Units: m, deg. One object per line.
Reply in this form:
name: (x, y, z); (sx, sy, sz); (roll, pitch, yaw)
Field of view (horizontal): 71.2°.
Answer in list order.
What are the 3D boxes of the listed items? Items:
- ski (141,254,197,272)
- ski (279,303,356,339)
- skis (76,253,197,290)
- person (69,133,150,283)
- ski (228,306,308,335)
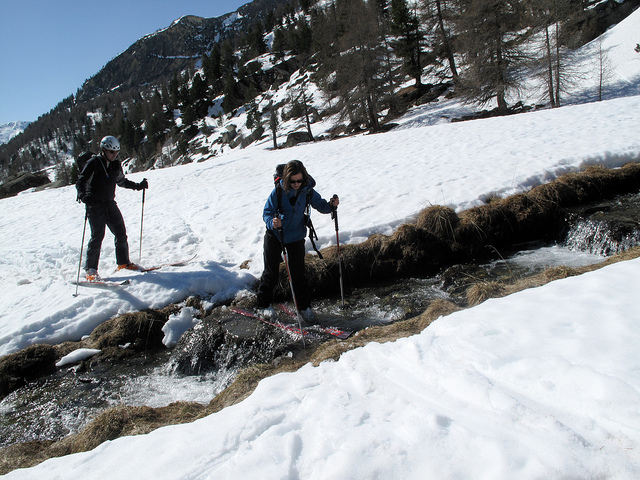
ski: (-3.288, 0.515, 9.787); (0.093, 0.074, 0.860); (11, 24, 43)
ski: (-0.195, 1.445, 7.478); (1.560, 0.250, 0.175); (14, 30, 26)
skis: (-3.816, 0.677, 9.309); (1.547, 0.221, 0.228); (-15, 43, -4)
person: (-4.353, -0.614, 9.118); (1.136, 2.744, 1.563); (-5, 18, 24)
ski: (-0.907, 1.409, 7.704); (1.159, 0.068, 0.128); (16, 25, 29)
